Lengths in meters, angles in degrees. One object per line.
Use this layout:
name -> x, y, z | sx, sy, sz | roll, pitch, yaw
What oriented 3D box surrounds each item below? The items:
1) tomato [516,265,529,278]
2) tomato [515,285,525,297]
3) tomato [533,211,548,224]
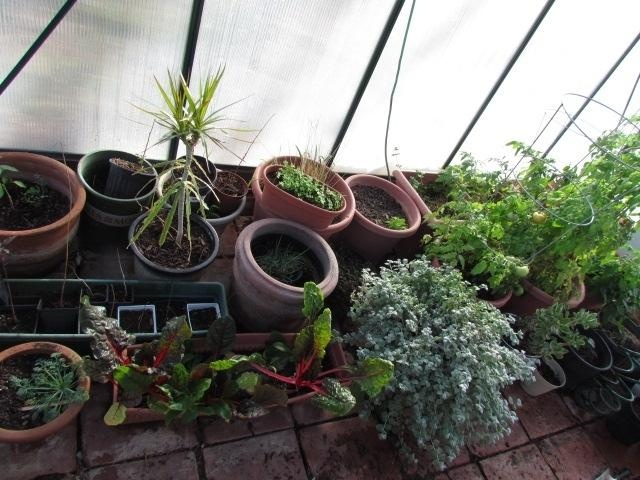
tomato -> 1.289, 0.200, 2.409 | 0.065, 0.068, 0.065 | -26, 29, -37
tomato -> 1.400, 0.354, 2.651 | 0.038, 0.050, 0.088 | 21, -14, 24
tomato -> 1.475, -0.170, 2.548 | 0.079, 0.097, 0.082 | 9, 40, 30
